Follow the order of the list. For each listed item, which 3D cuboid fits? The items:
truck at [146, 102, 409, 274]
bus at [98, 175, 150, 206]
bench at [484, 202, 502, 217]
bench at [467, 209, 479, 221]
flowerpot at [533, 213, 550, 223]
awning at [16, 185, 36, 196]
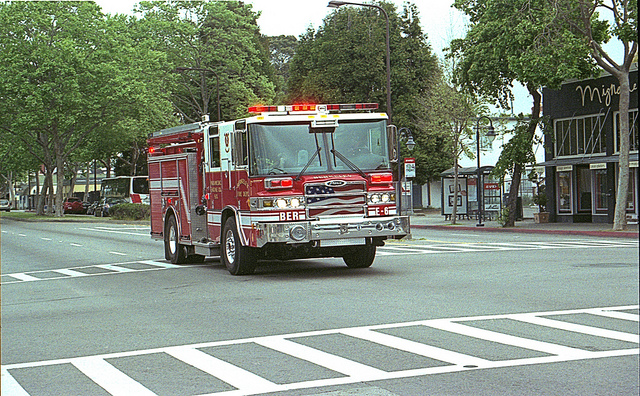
[{"bbox_3d":[-2.492,-0.186,17.471,9.625,4.664,3.455,0,2,41],"label":"truck"},{"bbox_3d":[-21.156,-0.767,62.529,3.739,3.947,11.111,0,1,-36],"label":"bus"},{"bbox_3d":[12.492,0.683,42.173,1.570,1.314,1.066,0,-3,3],"label":"bench"},{"bbox_3d":[11.330,1.245,43.222,0.754,0.857,2.519,-2,1,14],"label":"bench"},{"bbox_3d":[14.580,1.269,38.225,0.733,0.415,0.722,3,4,32],"label":"flowerpot"},{"bbox_3d":[-74.477,-2.026,146.402,3.763,3.347,2.045,-5,-9,43],"label":"awning"}]
